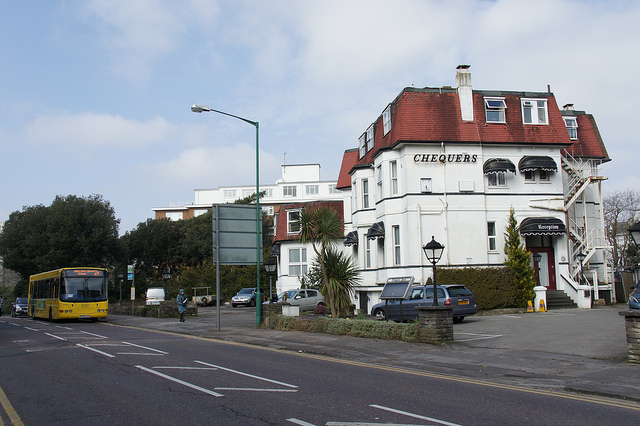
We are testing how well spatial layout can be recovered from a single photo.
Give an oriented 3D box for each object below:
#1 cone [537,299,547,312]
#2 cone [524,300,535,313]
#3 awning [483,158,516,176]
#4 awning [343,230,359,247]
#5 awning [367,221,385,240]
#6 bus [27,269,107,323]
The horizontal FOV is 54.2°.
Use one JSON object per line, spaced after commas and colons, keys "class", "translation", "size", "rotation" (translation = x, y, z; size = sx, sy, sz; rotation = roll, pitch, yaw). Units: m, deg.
{"class": "cone", "translation": [13.489, 5.609, 38.056], "size": [0.475, 0.740, 0.325], "rotation": [-1, -10, -10]}
{"class": "cone", "translation": [12.728, 5.746, 38.157], "size": [0.560, 0.805, 0.576], "rotation": [-1, -7, -10]}
{"class": "awning", "translation": [11.584, -3.156, 40.329], "size": [1.958, 1.026, 1.146], "rotation": [0, -10, -16]}
{"class": "awning", "translation": [2.299, 1.885, 45.937], "size": [0.933, 0.904, 1.317], "rotation": [0, -4, -5]}
{"class": "awning", "translation": [3.726, 1.156, 41.653], "size": [0.974, 1.107, 1.096], "rotation": [6, -12, -17]}
{"class": "bus", "translation": [-18.792, 6.134, 46.069], "size": [3.412, 3.788, 10.048], "rotation": [5, -9, -36]}
